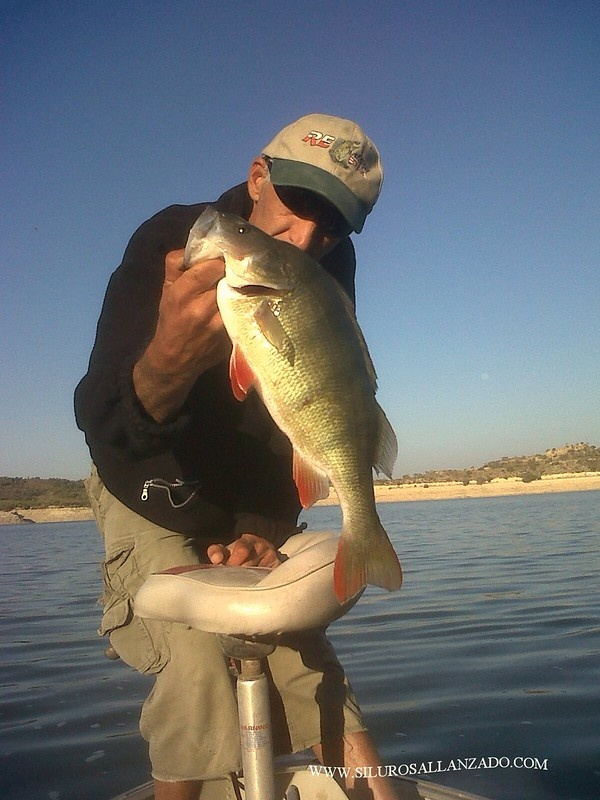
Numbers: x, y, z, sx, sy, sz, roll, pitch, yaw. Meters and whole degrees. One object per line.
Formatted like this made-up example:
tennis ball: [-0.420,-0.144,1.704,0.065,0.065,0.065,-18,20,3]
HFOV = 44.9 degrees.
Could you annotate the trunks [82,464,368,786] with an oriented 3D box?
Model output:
trunks: [-0.224,1.159,4.076,1.482,1.781,1.306,-17,-17,42]
